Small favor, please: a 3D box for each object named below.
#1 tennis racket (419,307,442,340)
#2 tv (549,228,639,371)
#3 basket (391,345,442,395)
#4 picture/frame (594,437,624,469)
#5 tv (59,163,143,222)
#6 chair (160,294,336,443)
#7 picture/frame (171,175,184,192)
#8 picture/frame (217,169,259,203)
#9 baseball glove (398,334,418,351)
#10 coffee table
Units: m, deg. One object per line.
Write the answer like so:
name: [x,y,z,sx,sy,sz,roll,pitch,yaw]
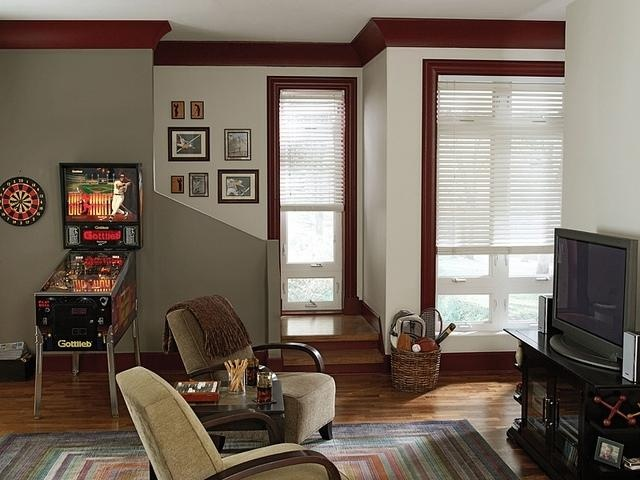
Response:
tennis racket: [1.096,0.814,5.141,0.218,0.293,0.070,-2,3,5]
tv: [1.764,0.392,3.326,0.396,0.841,0.922,0,3,-4]
basket: [0.873,1.217,4.947,0.394,0.285,0.389,0,-1,-1]
picture/frame: [1.715,1.266,3.094,0.165,0.164,0.017,14,-6,25]
tv: [-2.090,-0.445,4.924,0.570,0.414,0.044,0,-2,-4]
chair: [-0.540,0.917,4.252,1.359,1.161,0.889,0,1,17]
picture/frame: [-1.615,-0.633,5.820,0.189,0.250,0.022,0,3,-7]
picture/frame: [-0.958,-0.620,5.860,0.391,0.314,0.031,0,1,-6]
baseball glove: [0.794,0.959,4.877,0.130,0.047,0.177,1,49,0]
coffee table: [-0.475,1.088,3.206,0.615,0.312,0.464,-1,3,-1]
